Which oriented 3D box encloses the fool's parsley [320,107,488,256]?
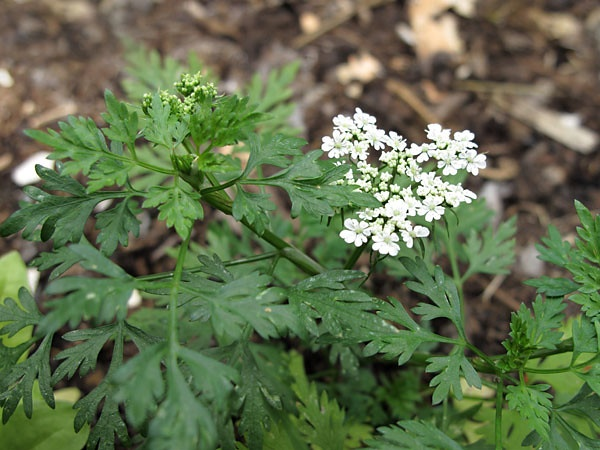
[{"bbox_3d":[0.490,-0.204,2.743,0.833,0.373,0.770,17,55,12],"label":"fool's parsley"}]
